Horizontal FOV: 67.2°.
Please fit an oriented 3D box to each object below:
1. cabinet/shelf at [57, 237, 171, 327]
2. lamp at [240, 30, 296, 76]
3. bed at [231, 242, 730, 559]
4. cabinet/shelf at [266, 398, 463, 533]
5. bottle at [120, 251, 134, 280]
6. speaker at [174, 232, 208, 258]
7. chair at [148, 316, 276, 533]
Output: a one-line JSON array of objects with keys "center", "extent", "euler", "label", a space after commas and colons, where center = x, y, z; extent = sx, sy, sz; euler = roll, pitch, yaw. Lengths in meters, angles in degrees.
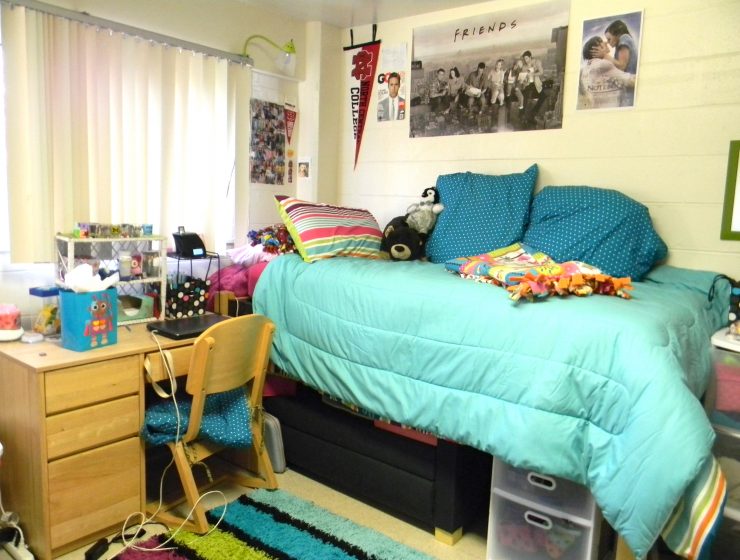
[{"center": [-1.325, -0.015, 2.881], "extent": [0.453, 0.446, 0.257], "euler": [-2, -4, 27], "label": "cabinet/shelf"}, {"center": [-0.634, -1.499, 3.712], "extent": [0.136, 0.252, 0.482], "euler": [8, 14, 38], "label": "lamp"}, {"center": [0.507, 0.381, 2.382], "extent": [1.365, 0.532, 1.410], "euler": [16, 10, 23], "label": "bed"}, {"center": [0.094, 0.940, 3.108], "extent": [1.141, 0.507, 0.803], "euler": [5, 4, 38], "label": "cabinet/shelf"}, {"center": [-1.193, -0.062, 2.740], "extent": [0.062, 0.128, 0.043], "euler": [-4, 12, -19], "label": "bottle"}, {"center": [-0.979, -0.181, 3.032], "extent": [0.088, 0.108, 0.107], "euler": [-28, 2, 22], "label": "speaker"}, {"center": [-0.808, 0.625, 2.684], "extent": [0.590, 0.910, 0.639], "euler": [2, 5, 32], "label": "chair"}]
